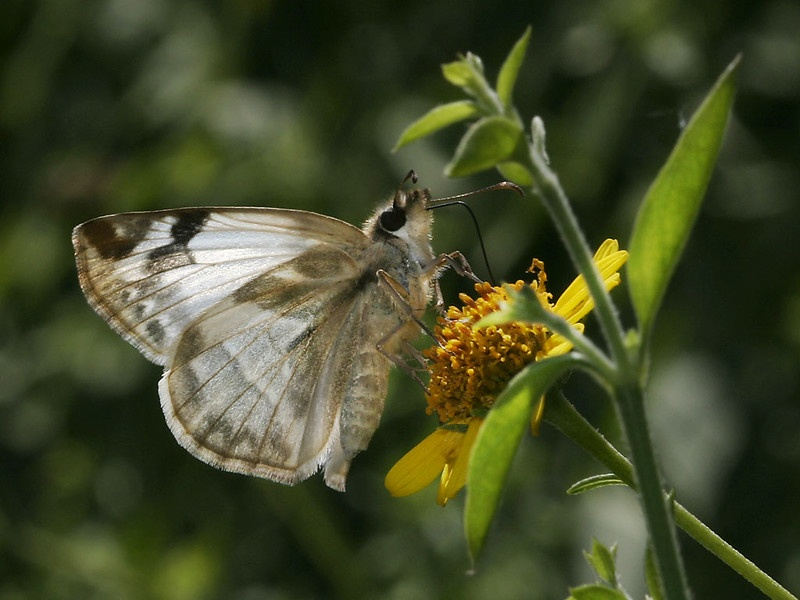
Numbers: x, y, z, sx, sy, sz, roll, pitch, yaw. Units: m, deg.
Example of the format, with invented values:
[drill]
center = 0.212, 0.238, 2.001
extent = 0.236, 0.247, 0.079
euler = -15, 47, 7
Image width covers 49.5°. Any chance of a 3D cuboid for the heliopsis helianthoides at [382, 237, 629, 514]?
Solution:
[heliopsis helianthoides]
center = 0.288, 0.268, 3.151
extent = 0.922, 0.913, 0.471
euler = -3, -1, -34
